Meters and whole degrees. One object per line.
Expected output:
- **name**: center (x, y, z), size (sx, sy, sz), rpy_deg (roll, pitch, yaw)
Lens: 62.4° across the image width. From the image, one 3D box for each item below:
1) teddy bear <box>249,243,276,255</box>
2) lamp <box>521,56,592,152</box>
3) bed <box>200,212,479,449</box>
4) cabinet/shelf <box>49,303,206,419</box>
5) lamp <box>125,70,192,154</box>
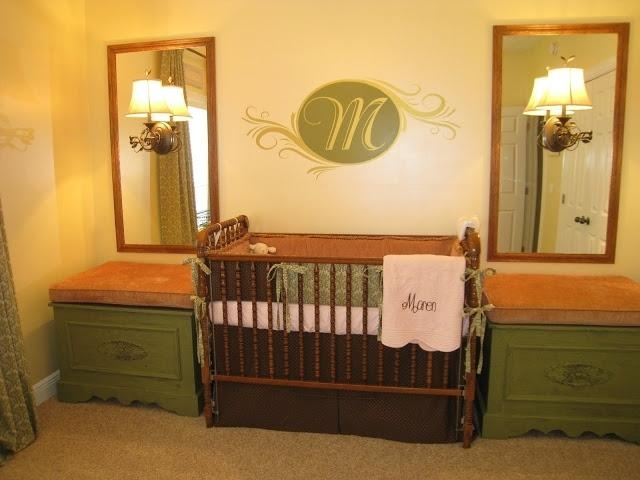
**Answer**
- **teddy bear**: center (-0.399, 0.069, 3.714), size (0.151, 0.086, 0.060), rpy_deg (4, -31, -16)
- **lamp**: center (1.568, -0.877, 3.411), size (0.401, 0.618, 0.351), rpy_deg (-1, 5, -36)
- **bed**: center (0.163, 0.519, 3.528), size (1.636, 1.265, 0.999), rpy_deg (0, 9, 10)
- **cabinet/shelf**: center (-1.435, 0.901, 3.616), size (1.080, 0.711, 0.609), rpy_deg (15, -36, -43)
- **lamp**: center (-1.161, -0.896, 3.710), size (0.497, 0.583, 0.367), rpy_deg (4, 11, 6)
